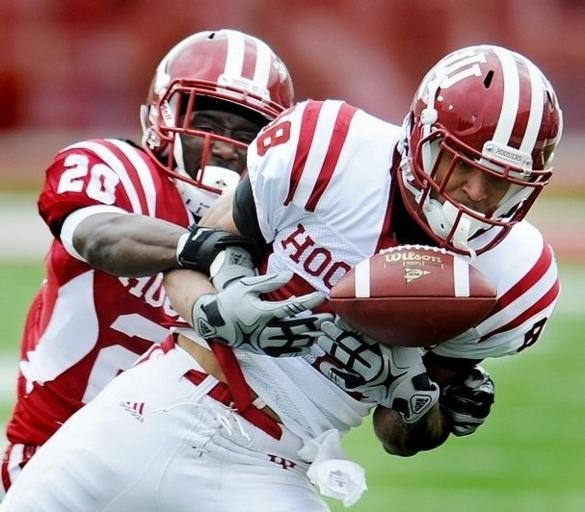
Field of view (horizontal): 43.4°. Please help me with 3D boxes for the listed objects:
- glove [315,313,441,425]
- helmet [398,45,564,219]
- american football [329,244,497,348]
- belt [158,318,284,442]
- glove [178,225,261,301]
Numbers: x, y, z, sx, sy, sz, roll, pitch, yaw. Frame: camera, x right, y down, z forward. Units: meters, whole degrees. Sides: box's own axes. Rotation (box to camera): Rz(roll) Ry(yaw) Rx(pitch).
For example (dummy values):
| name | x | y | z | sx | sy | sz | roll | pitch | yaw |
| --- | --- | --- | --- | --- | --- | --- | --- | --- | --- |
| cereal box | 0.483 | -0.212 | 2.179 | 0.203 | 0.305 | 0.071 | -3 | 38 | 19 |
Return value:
| name | x | y | z | sx | sy | sz | roll | pitch | yaw |
| --- | --- | --- | --- | --- | --- | --- | --- | --- | --- |
| glove | 0.208 | 0.221 | 1.650 | 0.275 | 0.244 | 0.072 | 25 | 64 | 5 |
| helmet | 0.421 | -0.274 | 1.644 | 0.343 | 0.366 | 0.256 | 7 | 26 | 5 |
| american football | 0.269 | 0.083 | 1.601 | 0.402 | 0.185 | 0.218 | -2 | 5 | 9 |
| belt | -0.152 | 0.320 | 1.756 | 0.258 | 0.093 | 0.178 | 36 | 67 | 0 |
| glove | -0.177 | 0.012 | 1.676 | 0.183 | 0.071 | 0.137 | 16 | -8 | 20 |
